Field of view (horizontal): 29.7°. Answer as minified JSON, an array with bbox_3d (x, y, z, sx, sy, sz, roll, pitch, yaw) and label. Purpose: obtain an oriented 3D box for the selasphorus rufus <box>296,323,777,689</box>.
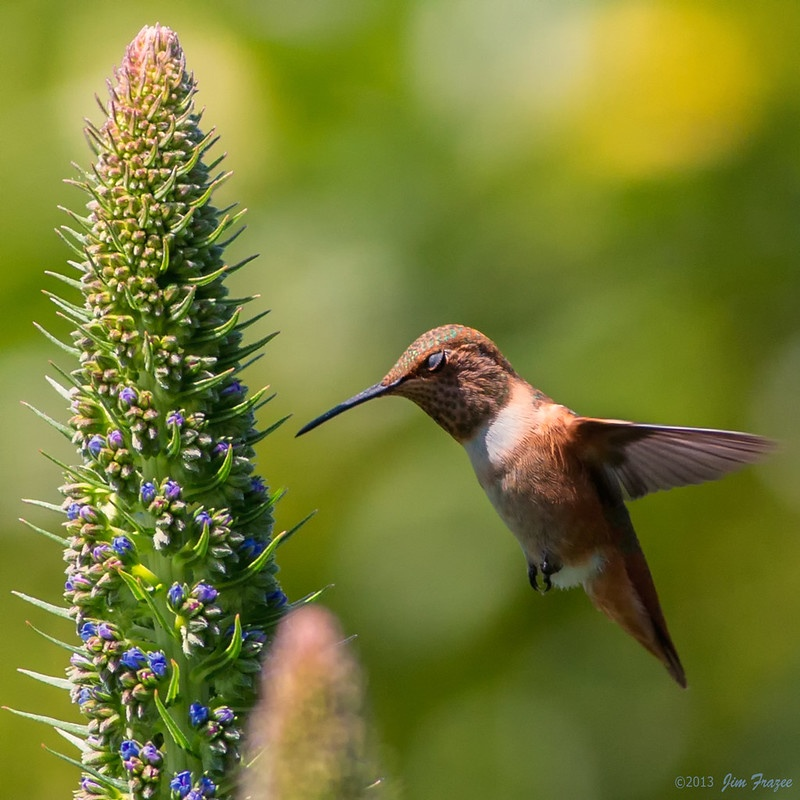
[{"bbox_3d":[0.354,0.157,3.550,0.935,1.209,0.600,9,13,24],"label":"selasphorus rufus"}]
